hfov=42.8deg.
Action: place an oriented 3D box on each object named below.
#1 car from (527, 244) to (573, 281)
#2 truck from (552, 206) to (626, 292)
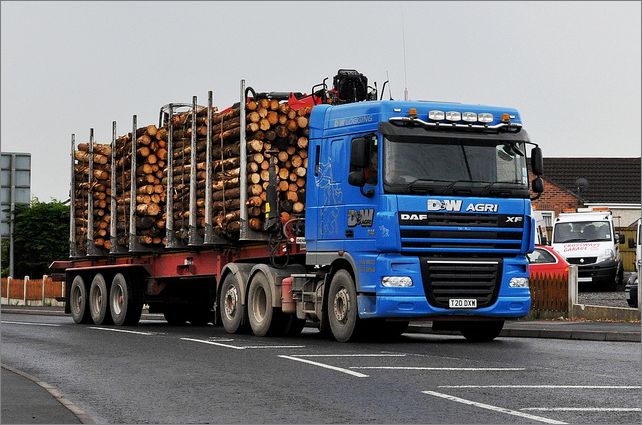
[{"bbox_3d":[7.078,1.562,25.271,2.007,1.077,1.211,2,-3,7],"label":"car"},{"bbox_3d":[10.684,1.401,32.788,2.489,3.340,2.990,-2,-5,11],"label":"truck"}]
